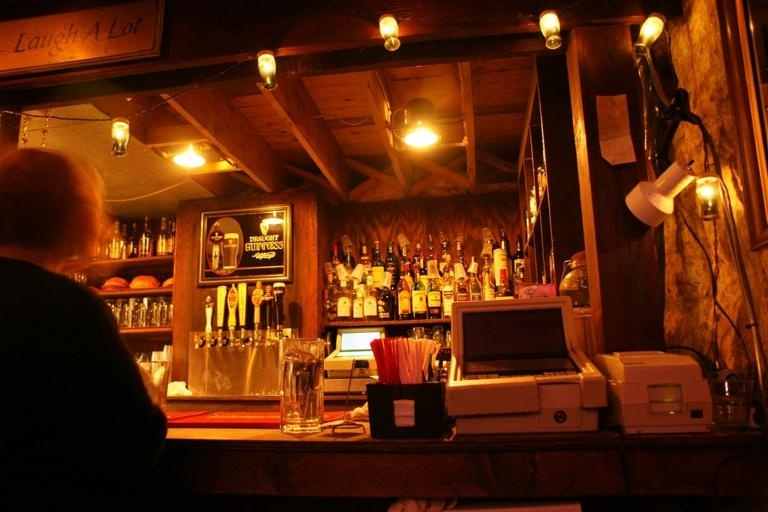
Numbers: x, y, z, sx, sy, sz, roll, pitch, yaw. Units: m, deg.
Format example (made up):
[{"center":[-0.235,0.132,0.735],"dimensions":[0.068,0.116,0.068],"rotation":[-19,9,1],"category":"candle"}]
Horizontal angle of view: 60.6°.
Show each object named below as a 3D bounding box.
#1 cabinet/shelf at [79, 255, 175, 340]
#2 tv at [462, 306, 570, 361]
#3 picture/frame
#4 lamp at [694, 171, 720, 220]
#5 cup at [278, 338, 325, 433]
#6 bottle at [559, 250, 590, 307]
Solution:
[{"center":[-1.840,0.300,4.806],"dimensions":[0.745,0.424,0.218],"rotation":[-3,-22,5],"category":"cabinet/shelf"},{"center":[0.537,0.371,2.753],"dimensions":[0.452,0.295,0.098],"rotation":[-2,21,-2],"category":"tv"},{"center":[-1.142,-0.080,5.407],"dimensions":[0.772,0.581,0.019],"rotation":[-3,9,-37],"category":"picture/frame"},{"center":[1.371,-0.237,2.759],"dimensions":[0.087,0.169,0.254],"rotation":[-7,-10,27],"category":"lamp"},{"center":[-0.339,0.539,2.737],"dimensions":[0.168,0.378,0.072],"rotation":[0,-9,-14],"category":"cup"},{"center":[0.973,0.115,3.319],"dimensions":[0.134,0.283,0.232],"rotation":[-1,-9,-7],"category":"bottle"}]
